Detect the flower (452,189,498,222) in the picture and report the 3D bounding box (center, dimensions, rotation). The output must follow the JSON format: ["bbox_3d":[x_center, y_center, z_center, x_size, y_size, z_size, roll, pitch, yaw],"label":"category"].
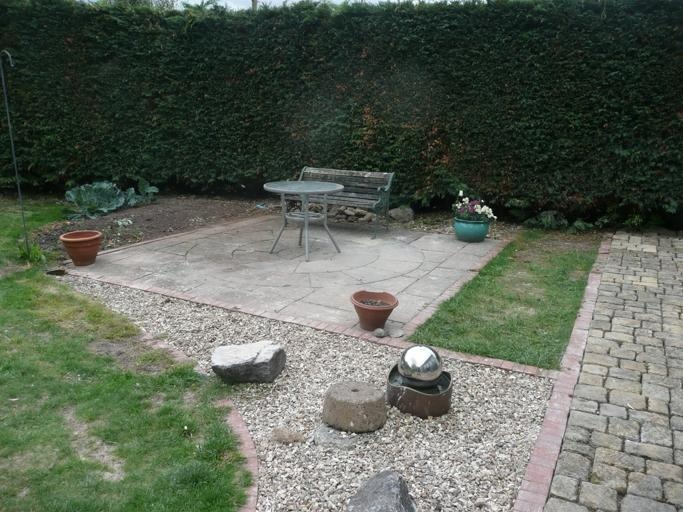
[{"bbox_3d":[2.281,-0.787,8.375,0.756,0.442,0.847,9,19,13],"label":"flower"}]

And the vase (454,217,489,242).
[{"bbox_3d":[2.172,-0.459,8.137,0.552,0.261,0.444,1,7,-1],"label":"vase"}]

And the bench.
[{"bbox_3d":[-0.103,-1.176,9.233,2.034,0.812,0.759,11,26,30],"label":"bench"}]

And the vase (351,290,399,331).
[{"bbox_3d":[0.355,0.615,4.937,0.505,0.297,0.488,1,4,-5],"label":"vase"}]
